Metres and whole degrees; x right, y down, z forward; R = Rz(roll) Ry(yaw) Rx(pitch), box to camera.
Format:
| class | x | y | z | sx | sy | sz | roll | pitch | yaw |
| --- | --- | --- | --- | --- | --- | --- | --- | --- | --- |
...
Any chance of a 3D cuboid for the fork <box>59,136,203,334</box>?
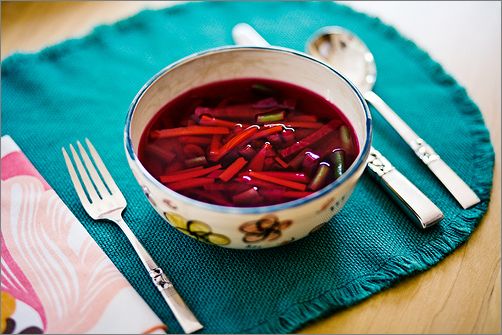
| class | x | y | z | sx | sy | sz | roll | pitch | yaw |
| --- | --- | --- | --- | --- | --- | --- | --- | --- | --- |
| fork | -0.306 | 0.197 | 1.099 | 0.099 | 0.576 | 0.079 | -27 | -22 | -26 |
